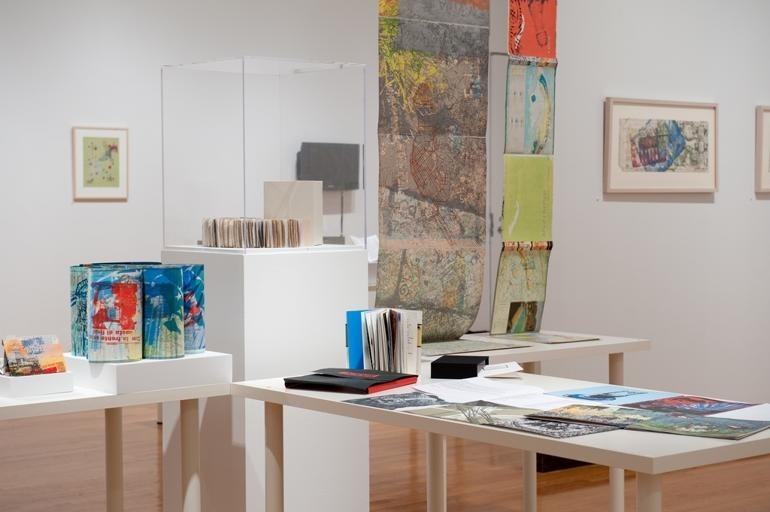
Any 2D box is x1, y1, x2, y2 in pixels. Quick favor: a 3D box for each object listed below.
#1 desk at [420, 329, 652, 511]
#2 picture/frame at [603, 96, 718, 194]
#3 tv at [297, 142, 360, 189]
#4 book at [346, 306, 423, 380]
[{"bbox_3d":[1.006,1.009,4.127,1.257,1.125,1.229,1,-2,-34],"label":"desk"},{"bbox_3d":[2.513,-1.002,6.029,0.048,0.825,1.181,-16,18,-28],"label":"picture/frame"},{"bbox_3d":[-0.228,-0.483,3.490,0.372,0.242,0.226,3,12,24],"label":"tv"},{"bbox_3d":[-0.003,0.368,2.939,0.321,0.362,0.279,1,0,45],"label":"book"}]
